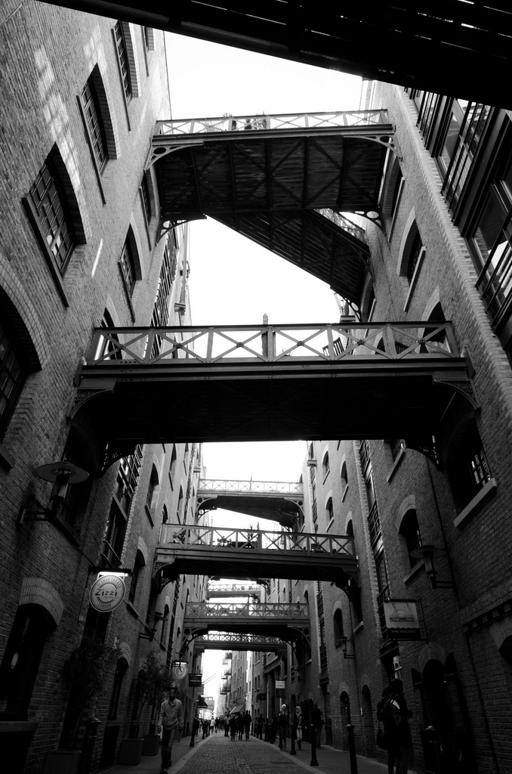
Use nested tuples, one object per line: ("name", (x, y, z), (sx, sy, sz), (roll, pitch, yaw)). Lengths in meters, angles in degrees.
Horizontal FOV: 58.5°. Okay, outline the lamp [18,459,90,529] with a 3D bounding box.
("lamp", (-2.581, 1.442, 6.020), (0.440, 0.802, 0.615), (-10, -33, 2))
